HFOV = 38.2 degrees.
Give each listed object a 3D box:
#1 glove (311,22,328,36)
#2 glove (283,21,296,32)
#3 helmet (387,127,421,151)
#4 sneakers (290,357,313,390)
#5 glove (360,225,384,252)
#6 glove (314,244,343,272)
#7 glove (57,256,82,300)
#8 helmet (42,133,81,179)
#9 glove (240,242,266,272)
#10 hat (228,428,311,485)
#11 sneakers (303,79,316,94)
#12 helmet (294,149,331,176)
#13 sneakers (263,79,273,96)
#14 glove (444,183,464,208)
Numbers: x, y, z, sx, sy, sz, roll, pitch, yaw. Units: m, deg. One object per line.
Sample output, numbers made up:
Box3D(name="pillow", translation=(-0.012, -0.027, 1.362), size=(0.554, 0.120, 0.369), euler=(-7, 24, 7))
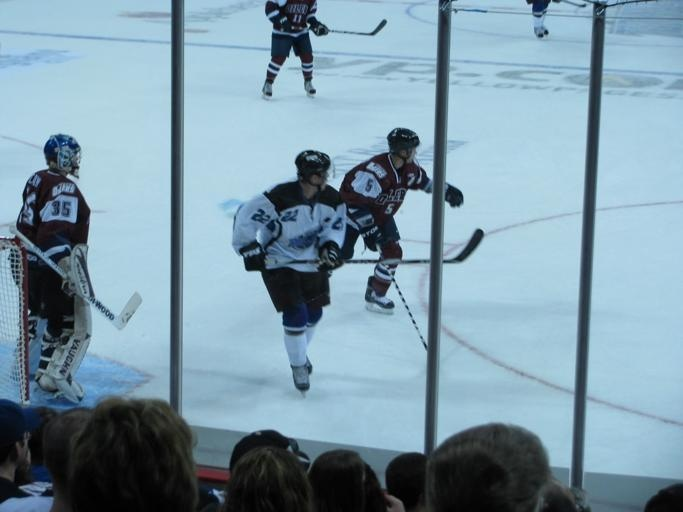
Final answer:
Box3D(name="glove", translation=(-0.152, -1.570, 6.878), size=(0.073, 0.054, 0.101), euler=(-23, 57, -26))
Box3D(name="glove", translation=(-0.376, -1.594, 6.862), size=(0.080, 0.074, 0.016), euler=(2, 0, -3))
Box3D(name="helmet", translation=(0.436, -0.813, 6.914), size=(0.183, 0.178, 0.156), euler=(-16, 15, 1))
Box3D(name="sneakers", translation=(-0.279, 0.859, 7.025), size=(0.085, 0.265, 0.102), euler=(-5, -1, 7))
Box3D(name="glove", translation=(0.220, -0.114, 6.966), size=(0.123, 0.181, 0.176), euler=(-5, 7, -2))
Box3D(name="glove", translation=(-0.085, 0.015, 6.970), size=(0.175, 0.183, 0.063), euler=(-12, -6, -14))
Box3D(name="glove", translation=(-1.933, 0.147, 6.953), size=(0.143, 0.248, 0.028), euler=(2, 0, 11))
Box3D(name="helmet", translation=(-2.041, -0.725, 7.117), size=(0.300, 0.303, 0.233), euler=(0, 6, -41))
Box3D(name="glove", translation=(-0.624, 0.014, 7.007), size=(0.183, 0.192, 0.079), euler=(6, 2, 7))
Box3D(name="hat", translation=(-0.378, 1.028, 5.208), size=(0.434, 0.202, 0.231), euler=(2, 0, -39))
Box3D(name="sneakers", translation=(-0.228, -1.177, 6.941), size=(0.061, 0.115, 0.113), euler=(-11, -24, -10))
Box3D(name="helmet", translation=(-0.207, -0.649, 6.917), size=(0.205, 0.199, 0.166), euler=(-20, 33, 7))
Box3D(name="sneakers", translation=(-0.527, -1.182, 6.990), size=(0.059, 0.113, 0.105), euler=(-4, -10, -22))
Box3D(name="glove", translation=(0.791, -0.418, 6.946), size=(0.110, 0.154, 0.064), euler=(-28, 9, -10))
